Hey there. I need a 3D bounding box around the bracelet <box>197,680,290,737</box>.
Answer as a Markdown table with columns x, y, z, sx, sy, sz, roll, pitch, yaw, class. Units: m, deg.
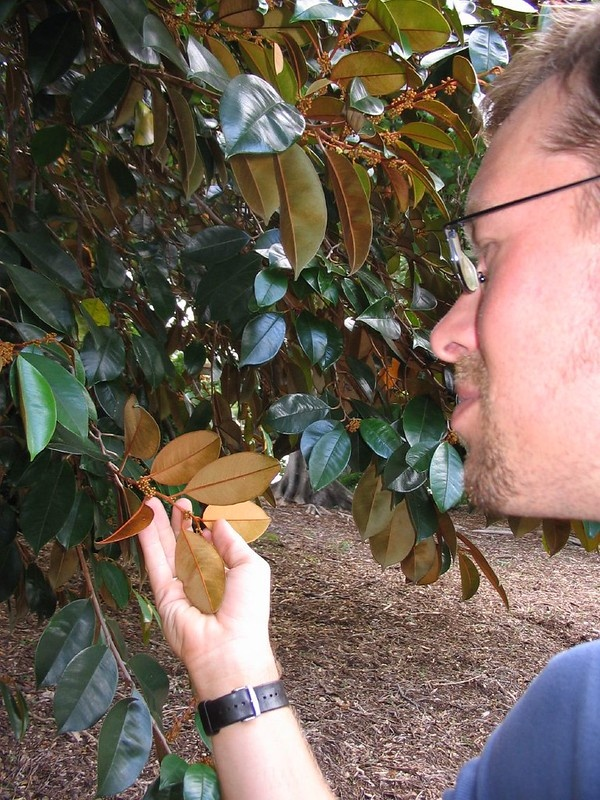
| x | y | z | sx | sy | sz | roll | pitch | yaw | class |
| --- | --- | --- | --- | --- | --- | --- | --- | --- | --- |
| -0.095 | 0.491 | 1.114 | 0.120 | 0.124 | 0.060 | -3 | 63 | -41 | bracelet |
